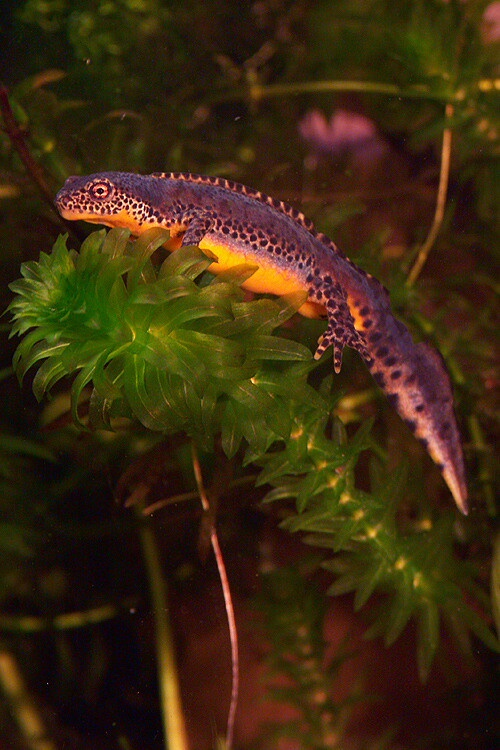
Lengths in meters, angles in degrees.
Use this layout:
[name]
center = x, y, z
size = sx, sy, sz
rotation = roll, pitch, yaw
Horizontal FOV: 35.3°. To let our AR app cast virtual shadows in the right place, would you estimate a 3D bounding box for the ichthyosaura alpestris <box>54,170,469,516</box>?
[ichthyosaura alpestris]
center = -0.012, -0.010, 1.255
size = 0.658, 0.247, 0.457
rotation = 29, 16, -26
